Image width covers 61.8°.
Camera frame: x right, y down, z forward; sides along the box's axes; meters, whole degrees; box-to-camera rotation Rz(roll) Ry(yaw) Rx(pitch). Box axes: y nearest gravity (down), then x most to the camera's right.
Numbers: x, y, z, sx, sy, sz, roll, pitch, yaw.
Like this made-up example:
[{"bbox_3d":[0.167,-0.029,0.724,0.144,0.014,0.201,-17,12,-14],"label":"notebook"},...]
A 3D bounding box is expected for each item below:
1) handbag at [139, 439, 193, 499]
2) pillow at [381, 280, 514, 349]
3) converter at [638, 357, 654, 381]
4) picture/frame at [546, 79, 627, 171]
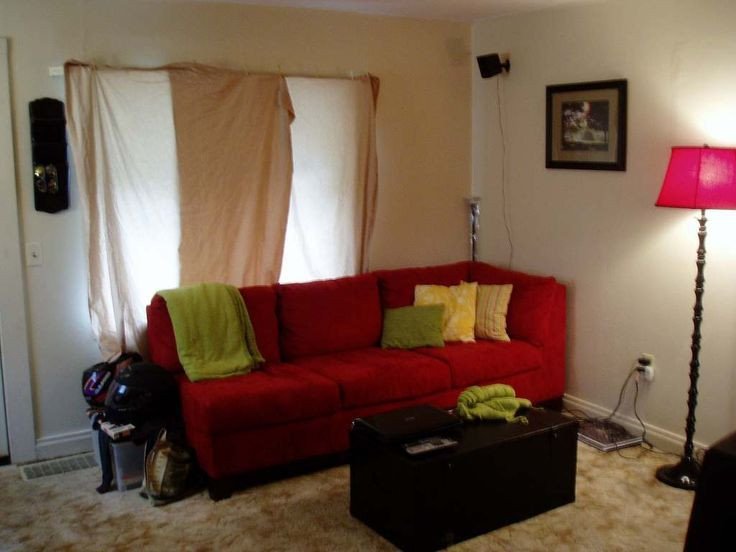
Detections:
[{"bbox_3d":[-1.183,1.156,3.751,0.315,0.349,0.282,1,-1,38],"label":"handbag"},{"bbox_3d":[0.619,0.309,4.664,0.706,0.548,0.268,2,-33,-11],"label":"pillow"},{"bbox_3d":[1.907,0.630,4.220,0.042,0.157,0.138,-8,16,-25],"label":"converter"},{"bbox_3d":[1.599,-1.104,4.442,0.048,0.735,0.686,-6,7,-43],"label":"picture/frame"}]
